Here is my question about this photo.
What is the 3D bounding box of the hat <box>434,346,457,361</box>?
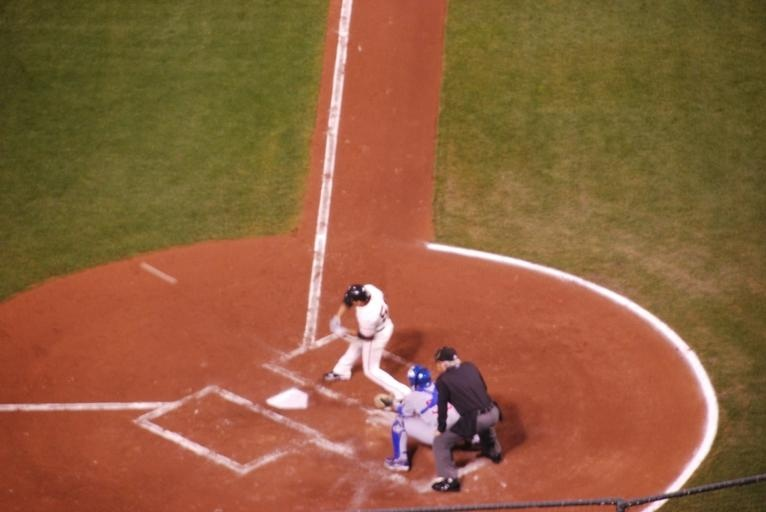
[{"bbox_3d":[1.273,1.911,20.425,0.364,0.239,0.191,-12,106,-16],"label":"hat"}]

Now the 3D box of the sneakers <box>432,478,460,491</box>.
[{"bbox_3d":[1.284,4.524,20.464,0.614,0.260,0.214,1,91,5],"label":"sneakers"}]

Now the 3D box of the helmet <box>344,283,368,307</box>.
[{"bbox_3d":[-0.546,0.829,21.376,0.559,0.432,0.384,-2,75,0],"label":"helmet"}]
